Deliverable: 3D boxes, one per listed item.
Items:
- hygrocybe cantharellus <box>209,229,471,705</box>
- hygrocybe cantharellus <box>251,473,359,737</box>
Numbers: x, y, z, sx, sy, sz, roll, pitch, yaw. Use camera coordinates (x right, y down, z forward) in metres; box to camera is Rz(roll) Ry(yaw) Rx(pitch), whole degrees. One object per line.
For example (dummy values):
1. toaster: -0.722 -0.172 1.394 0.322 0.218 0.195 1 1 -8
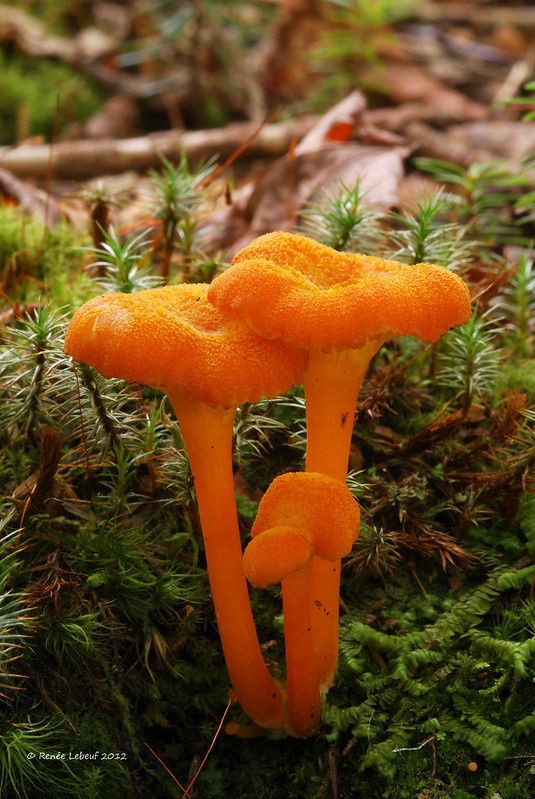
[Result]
1. hygrocybe cantharellus: 0.220 0.140 1.971 0.557 1.120 0.619 -3 9 19
2. hygrocybe cantharellus: 0.101 0.548 1.893 0.278 0.716 0.303 -1 33 6
